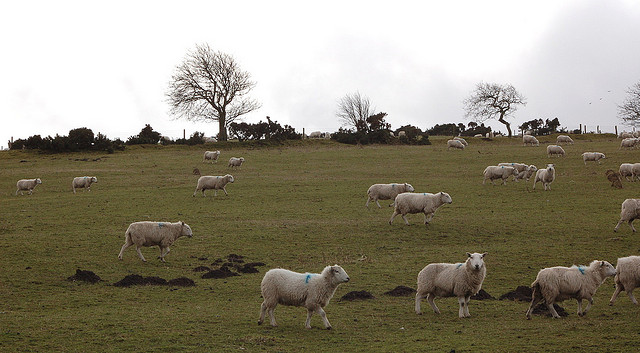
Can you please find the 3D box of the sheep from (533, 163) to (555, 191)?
[{"bbox_3d":[16.893,0.206,56.083,1.059,1.928,1.647,0,-5,-19],"label":"sheep"}]

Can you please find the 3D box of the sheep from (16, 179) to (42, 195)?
[{"bbox_3d":[-23.042,0.857,59.132,1.750,1.292,1.978,-2,-4,1],"label":"sheep"}]

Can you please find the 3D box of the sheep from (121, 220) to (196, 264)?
[{"bbox_3d":[-9.146,3.684,41.875,1.132,2.093,4.674,-3,-5,41],"label":"sheep"}]

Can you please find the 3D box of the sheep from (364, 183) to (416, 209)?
[{"bbox_3d":[5.212,1.172,50.787,5.030,1.968,1.223,-4,2,12],"label":"sheep"}]
